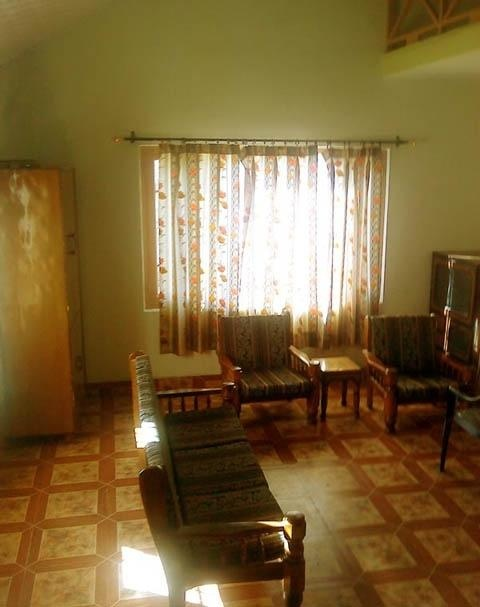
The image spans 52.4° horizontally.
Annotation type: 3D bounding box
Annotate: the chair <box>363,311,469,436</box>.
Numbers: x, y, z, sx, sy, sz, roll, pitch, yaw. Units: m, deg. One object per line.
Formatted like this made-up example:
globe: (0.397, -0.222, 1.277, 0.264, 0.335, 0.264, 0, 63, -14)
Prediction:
chair: (1.378, 0.521, 4.007, 0.703, 0.799, 0.834, -1, 8, -8)

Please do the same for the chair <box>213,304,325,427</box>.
chair: (0.189, 0.443, 3.932, 0.581, 0.836, 0.852, -2, 11, -9)
